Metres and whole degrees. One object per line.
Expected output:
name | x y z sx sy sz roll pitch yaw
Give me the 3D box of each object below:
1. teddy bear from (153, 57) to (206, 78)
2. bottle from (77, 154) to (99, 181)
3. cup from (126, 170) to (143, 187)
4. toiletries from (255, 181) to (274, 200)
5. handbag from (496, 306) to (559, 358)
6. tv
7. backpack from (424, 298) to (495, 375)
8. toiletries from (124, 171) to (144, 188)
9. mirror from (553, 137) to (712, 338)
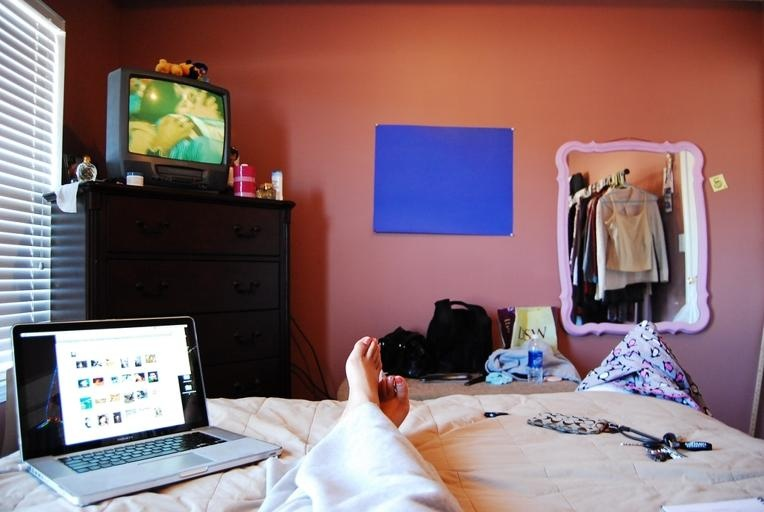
teddy bear | -1.128 -1.035 3.214 0.284 0.117 0.208 -1 13 -35
bottle | -1.552 -0.458 2.986 0.086 0.118 0.251 -3 -1 -35
cup | -1.289 -0.398 2.959 0.085 0.081 0.084 1 0 0
toiletries | -0.720 -0.392 3.441 0.112 0.106 0.112 1 0 4
handbag | 0.959 0.468 3.711 0.388 0.290 0.159 -3 -1 7
tv | -1.177 -0.612 3.375 0.869 0.807 0.614 2 -2 -34
backpack | 0.478 0.524 3.576 0.428 0.552 0.230 1 -4 0
toiletries | -1.289 -0.396 2.960 0.087 0.083 0.087 0 -1 -16
mirror | 1.621 -0.078 3.763 1.333 1.720 0.067 0 -6 -5
